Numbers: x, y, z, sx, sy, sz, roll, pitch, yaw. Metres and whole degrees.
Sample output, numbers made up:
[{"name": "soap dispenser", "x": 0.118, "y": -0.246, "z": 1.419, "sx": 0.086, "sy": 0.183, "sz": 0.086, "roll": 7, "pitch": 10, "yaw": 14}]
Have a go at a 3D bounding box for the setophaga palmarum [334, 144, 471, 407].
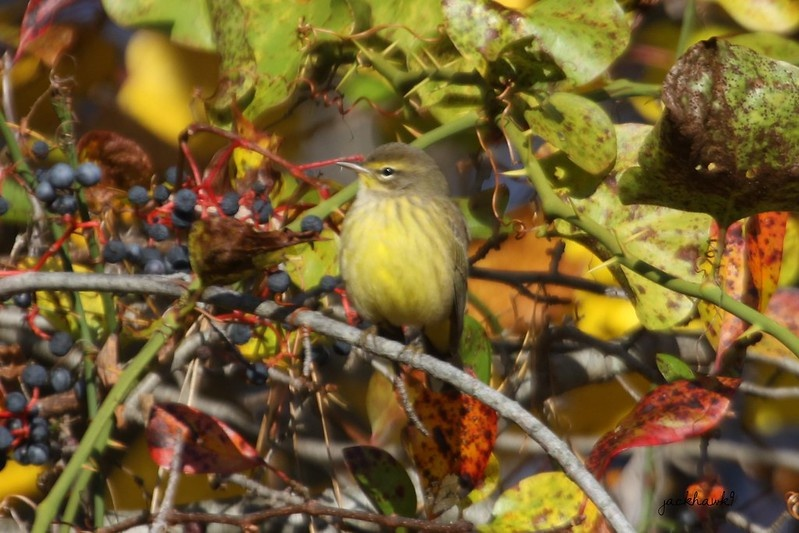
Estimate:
[{"name": "setophaga palmarum", "x": 0.037, "y": 0.064, "z": 4.545, "sx": 0.458, "sy": 1.018, "sz": 0.702, "roll": -2, "pitch": 48, "yaw": 3}]
